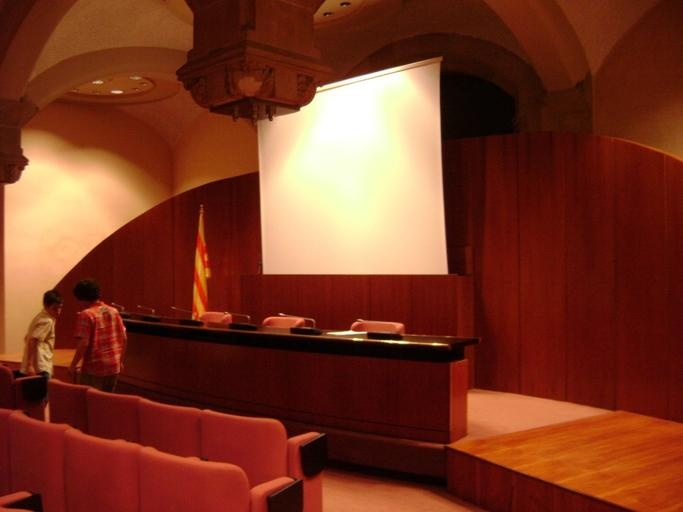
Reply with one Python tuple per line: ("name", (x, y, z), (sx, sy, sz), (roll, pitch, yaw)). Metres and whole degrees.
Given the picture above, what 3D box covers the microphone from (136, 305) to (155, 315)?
("microphone", (-3.330, 0.923, 9.934), (0.266, 0.157, 0.297), (7, -3, 2))
